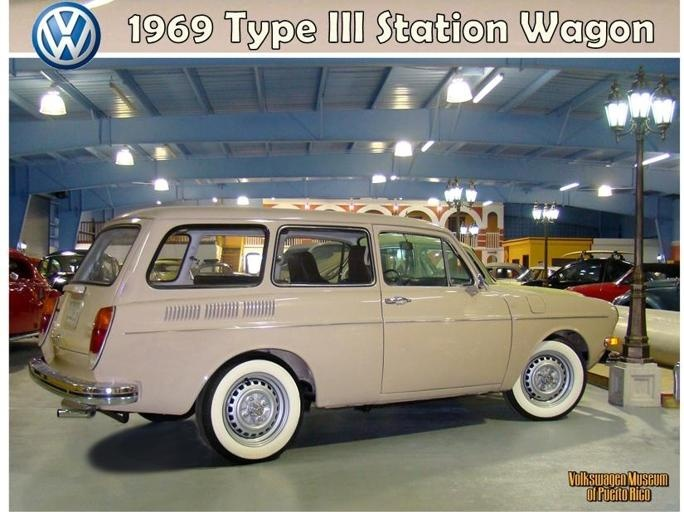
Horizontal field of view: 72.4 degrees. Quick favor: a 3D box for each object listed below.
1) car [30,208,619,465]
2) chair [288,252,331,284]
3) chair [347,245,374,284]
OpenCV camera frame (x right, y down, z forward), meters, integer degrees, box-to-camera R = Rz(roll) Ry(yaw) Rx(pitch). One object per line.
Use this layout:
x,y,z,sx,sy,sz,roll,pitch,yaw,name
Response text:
-0.099,0.724,5.622,5.584,2.069,2.757,-1,1,-23,car
-0.398,0.124,4.885,0.430,0.372,0.259,4,-3,-37,chair
0.226,0.116,5.092,0.314,0.445,0.378,-1,1,26,chair
